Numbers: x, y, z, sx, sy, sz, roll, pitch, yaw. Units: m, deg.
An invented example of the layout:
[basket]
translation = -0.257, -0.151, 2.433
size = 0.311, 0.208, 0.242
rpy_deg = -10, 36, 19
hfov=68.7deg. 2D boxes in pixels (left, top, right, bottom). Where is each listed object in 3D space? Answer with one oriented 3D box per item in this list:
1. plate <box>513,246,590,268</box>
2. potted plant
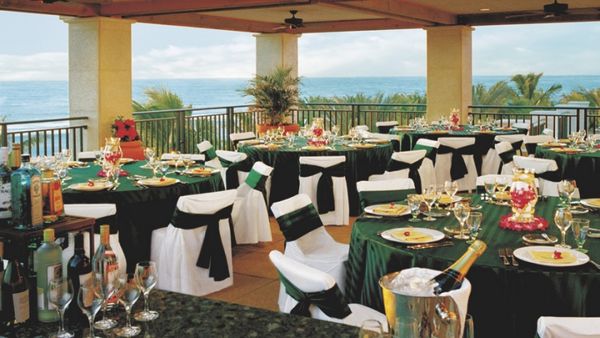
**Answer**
[plate]
translation = 1.875, 0.643, 3.316
size = 0.532, 0.091, 0.291
rpy_deg = -2, 8, 4
[potted plant]
translation = -0.505, -1.587, 11.781
size = 1.895, 2.026, 1.851
rpy_deg = 3, 5, 0
